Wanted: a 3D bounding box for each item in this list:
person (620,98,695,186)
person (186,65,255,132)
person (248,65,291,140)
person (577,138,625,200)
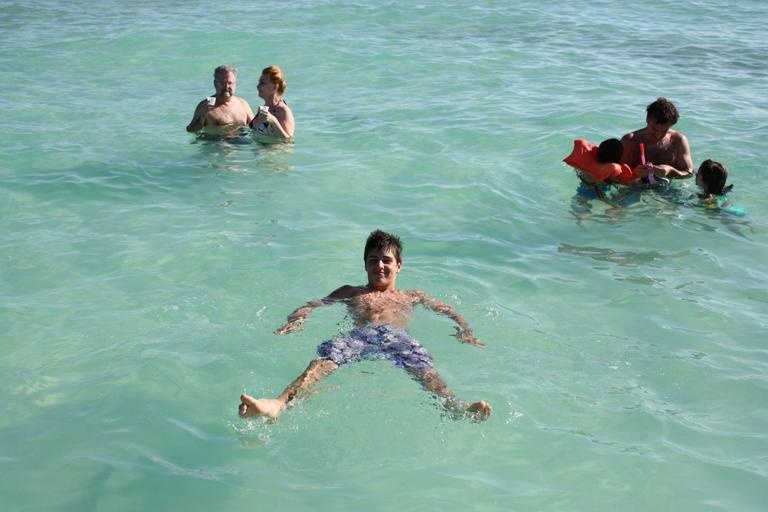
[{"bbox_3d":[4.376,-1.822,13.339,1.073,1.228,0.928,-10,39,-10],"label":"person"},{"bbox_3d":[-2.886,-2.743,14.844,0.774,1.171,1.088,16,40,20],"label":"person"},{"bbox_3d":[-2.031,-2.681,14.898,0.794,1.186,1.162,-5,36,-4],"label":"person"},{"bbox_3d":[3.520,-1.456,13.312,0.581,0.337,0.774,-16,35,17],"label":"person"}]
